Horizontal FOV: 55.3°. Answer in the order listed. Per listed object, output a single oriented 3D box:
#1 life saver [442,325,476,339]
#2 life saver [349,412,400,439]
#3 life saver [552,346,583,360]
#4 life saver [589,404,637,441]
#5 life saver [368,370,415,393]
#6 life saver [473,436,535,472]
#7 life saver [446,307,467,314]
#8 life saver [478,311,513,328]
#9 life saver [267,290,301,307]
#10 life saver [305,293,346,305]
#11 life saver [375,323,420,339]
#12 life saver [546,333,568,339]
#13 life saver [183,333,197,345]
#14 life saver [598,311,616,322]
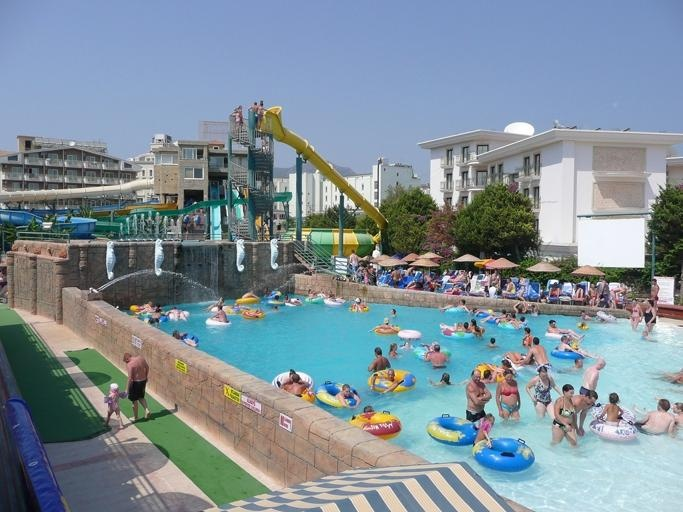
[{"bbox_3d":[4.780,3.232,27.045,1.431,0.416,0.573,1,2,40],"label":"life saver"},{"bbox_3d":[0.991,4.469,17.280,1.164,0.434,1.168,5,5,26],"label":"life saver"},{"bbox_3d":[8.316,3.653,24.080,1.222,0.349,0.479,1,2,45],"label":"life saver"},{"bbox_3d":[7.543,4.658,18.090,1.290,0.744,1.050,0,2,9],"label":"life saver"},{"bbox_3d":[1.536,4.042,20.926,0.904,0.251,0.911,-4,2,27],"label":"life saver"},{"bbox_3d":[4.057,5.023,16.268,1.933,0.640,1.861,0,3,14],"label":"life saver"},{"bbox_3d":[5.729,2.715,32.440,0.482,0.140,0.456,-1,4,-14],"label":"life saver"},{"bbox_3d":[6.912,2.877,29.648,1.069,0.546,2.462,-1,2,-13],"label":"life saver"},{"bbox_3d":[-3.131,2.360,34.911,1.155,0.351,0.900,5,7,41],"label":"life saver"},{"bbox_3d":[-0.903,2.411,35.249,1.460,0.359,0.862,-4,-2,21],"label":"life saver"},{"bbox_3d":[2.437,3.241,27.752,1.064,0.416,2.332,-1,2,-32],"label":"life saver"},{"bbox_3d":[8.764,3.245,26.414,0.431,0.115,0.436,0,0,33],"label":"life saver"},{"bbox_3d":[-5.701,3.148,24.476,0.674,0.311,0.847,3,17,-12],"label":"life saver"},{"bbox_3d":[12.045,2.814,29.815,0.424,0.224,0.575,11,4,0],"label":"life saver"}]
